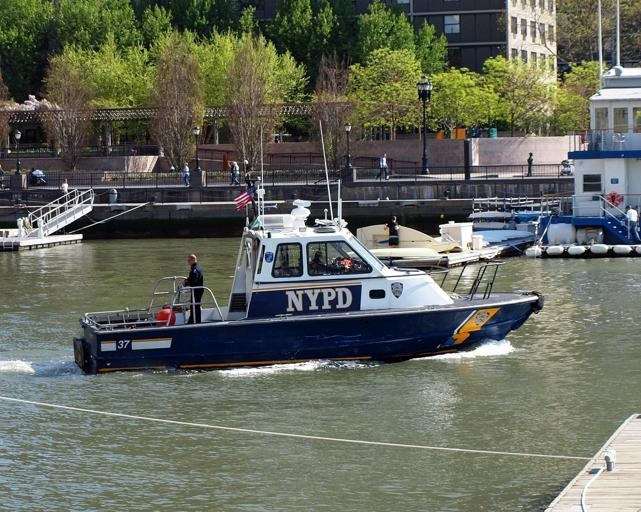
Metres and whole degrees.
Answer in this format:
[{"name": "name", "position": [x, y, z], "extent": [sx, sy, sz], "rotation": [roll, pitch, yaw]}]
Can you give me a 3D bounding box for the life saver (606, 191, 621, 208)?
[{"name": "life saver", "position": [11.736, -2.248, 54.717], "extent": [0.653, 0.499, 0.230], "rotation": [-4, 3, 5]}]
